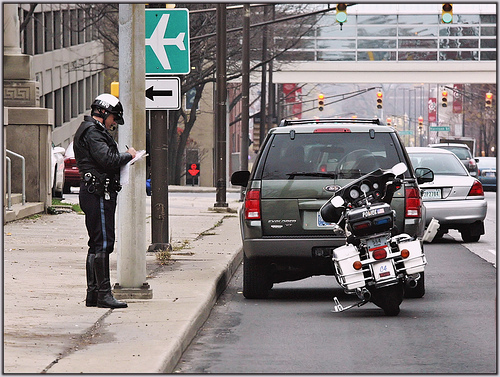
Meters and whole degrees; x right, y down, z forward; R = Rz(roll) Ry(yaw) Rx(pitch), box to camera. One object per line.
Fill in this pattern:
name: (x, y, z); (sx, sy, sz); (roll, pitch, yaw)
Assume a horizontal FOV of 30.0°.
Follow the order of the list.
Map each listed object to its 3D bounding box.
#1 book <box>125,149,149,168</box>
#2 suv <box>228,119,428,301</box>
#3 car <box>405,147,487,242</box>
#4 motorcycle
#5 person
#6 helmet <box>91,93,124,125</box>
book: (-1.320, -0.386, 11.137); (0.226, 0.080, 0.226); (-25, 0, 28)
suv: (1.030, 0.351, 12.078); (2.913, 2.063, 4.488); (-1, 3, 3)
car: (3.987, 0.104, 18.677); (1.404, 1.023, 2.771); (0, 3, 2)
motorcycle: (1.678, 0.606, 12.382); (1.219, 1.589, 2.925); (-15, 3, 6)
person: (-1.735, 0.276, 11.114); (0.667, 2.268, 0.408); (-3, 6, -6)
helmet: (-1.703, -0.956, 11.288); (0.418, 0.327, 0.356); (16, -7, -36)
